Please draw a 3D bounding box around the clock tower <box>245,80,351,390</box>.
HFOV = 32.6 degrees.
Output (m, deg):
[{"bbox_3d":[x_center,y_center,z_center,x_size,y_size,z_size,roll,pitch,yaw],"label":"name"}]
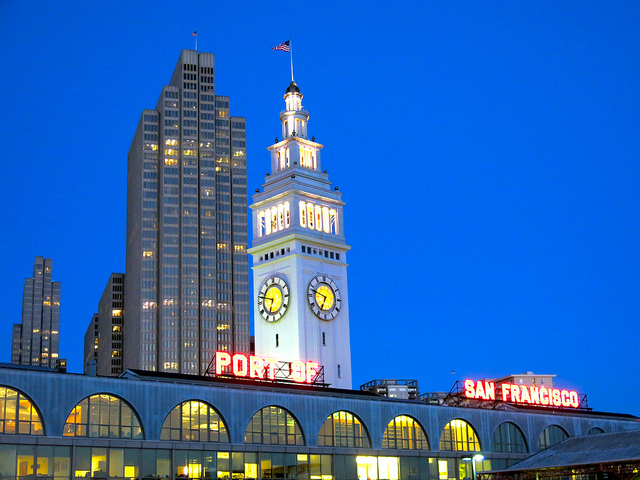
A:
[{"bbox_3d":[-3.197,-1.960,156.744,12.449,46.874,7.640,-2,-24,-2],"label":"clock tower"}]
